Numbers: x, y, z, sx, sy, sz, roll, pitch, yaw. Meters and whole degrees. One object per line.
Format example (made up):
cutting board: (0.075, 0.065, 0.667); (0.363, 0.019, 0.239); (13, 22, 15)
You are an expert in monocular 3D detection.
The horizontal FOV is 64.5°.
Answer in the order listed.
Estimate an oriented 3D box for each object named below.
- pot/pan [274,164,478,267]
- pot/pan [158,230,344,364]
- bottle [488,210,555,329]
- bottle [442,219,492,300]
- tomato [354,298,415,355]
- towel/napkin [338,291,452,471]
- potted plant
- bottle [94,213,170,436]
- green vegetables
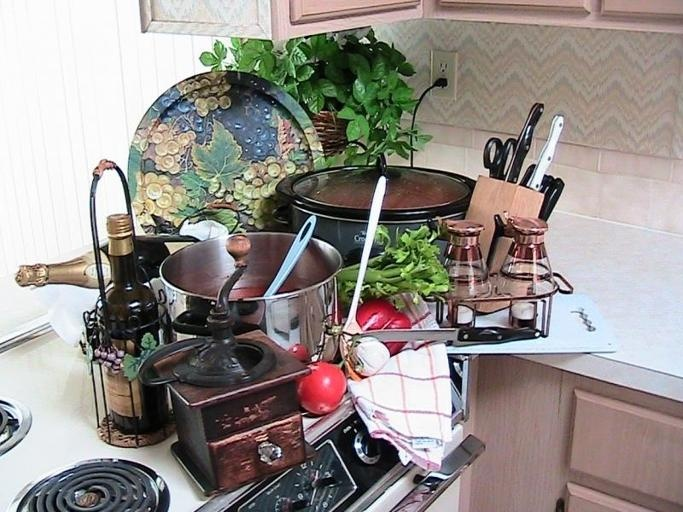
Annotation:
pot/pan: (0.028, -0.099, 1.273); (0.392, 0.254, 0.346); (0, 30, -29)
pot/pan: (-0.160, 0.044, 1.001); (0.304, 0.246, 0.293); (10, 19, 36)
bottle: (0.355, 0.031, 1.110); (0.115, 0.230, 0.109); (-1, 24, 0)
bottle: (0.248, 0.007, 1.081); (0.131, 0.180, 0.124); (-4, 20, 1)
tomato: (0.074, 0.112, 1.040); (0.104, 0.113, 0.104); (-10, 16, -4)
towel/napkin: (0.095, 0.209, 0.933); (0.184, 0.046, 0.273); (-6, 44, 10)
potted plant: (-0.042, -0.473, 1.514); (0.533, 0.202, 0.529); (29, 27, 23)
bottle: (-0.319, 0.104, 0.825); (0.101, 0.341, 0.097); (3, 18, -1)
green vegetables: (0.110, 0.030, 1.074); (0.210, 0.091, 0.133); (-13, 52, 11)
